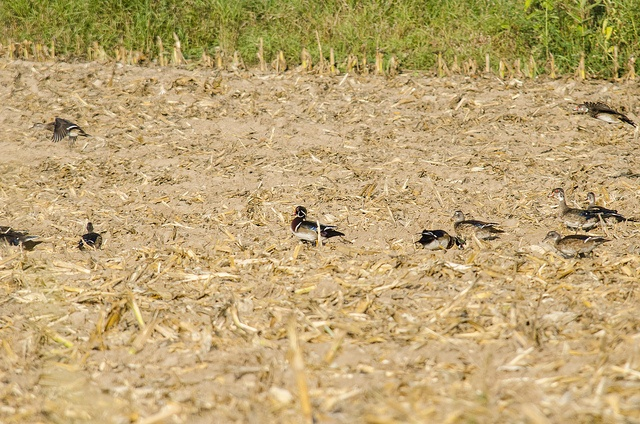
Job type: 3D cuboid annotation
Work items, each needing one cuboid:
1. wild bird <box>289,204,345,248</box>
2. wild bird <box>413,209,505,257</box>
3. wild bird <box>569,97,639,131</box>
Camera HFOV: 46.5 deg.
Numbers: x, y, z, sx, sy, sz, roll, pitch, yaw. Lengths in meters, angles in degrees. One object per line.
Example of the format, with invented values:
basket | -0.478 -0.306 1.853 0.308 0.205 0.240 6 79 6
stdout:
wild bird | -0.100 0.201 10.349 0.732 0.372 0.482 11 28 33
wild bird | 1.918 0.309 10.186 1.169 0.367 0.747 -12 23 -21
wild bird | 4.786 -1.631 12.438 1.154 0.319 0.384 -2 44 26
